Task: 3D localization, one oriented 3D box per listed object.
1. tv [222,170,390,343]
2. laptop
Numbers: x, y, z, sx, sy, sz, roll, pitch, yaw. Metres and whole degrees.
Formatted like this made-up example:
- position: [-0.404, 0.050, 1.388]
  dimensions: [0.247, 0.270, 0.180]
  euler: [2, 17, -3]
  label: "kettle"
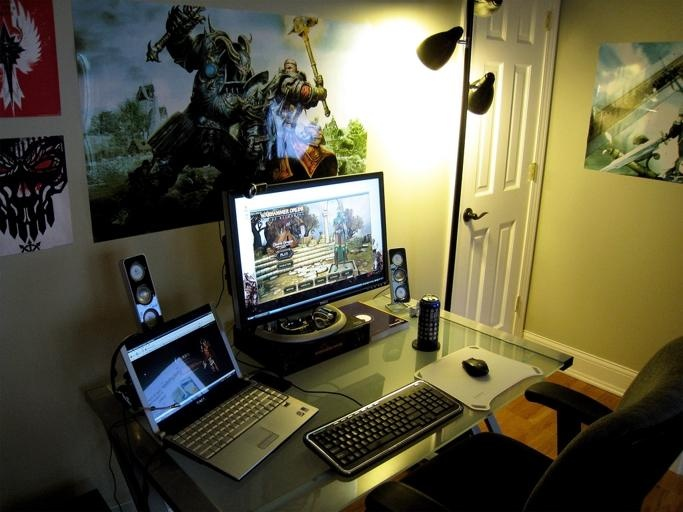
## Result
- position: [-0.148, 0.001, 1.935]
  dimensions: [0.616, 0.458, 0.066]
  euler: [-14, 19, -36]
  label: "tv"
- position: [-0.387, 0.389, 1.608]
  dimensions: [0.492, 0.312, 0.393]
  euler: [9, 19, 35]
  label: "laptop"
